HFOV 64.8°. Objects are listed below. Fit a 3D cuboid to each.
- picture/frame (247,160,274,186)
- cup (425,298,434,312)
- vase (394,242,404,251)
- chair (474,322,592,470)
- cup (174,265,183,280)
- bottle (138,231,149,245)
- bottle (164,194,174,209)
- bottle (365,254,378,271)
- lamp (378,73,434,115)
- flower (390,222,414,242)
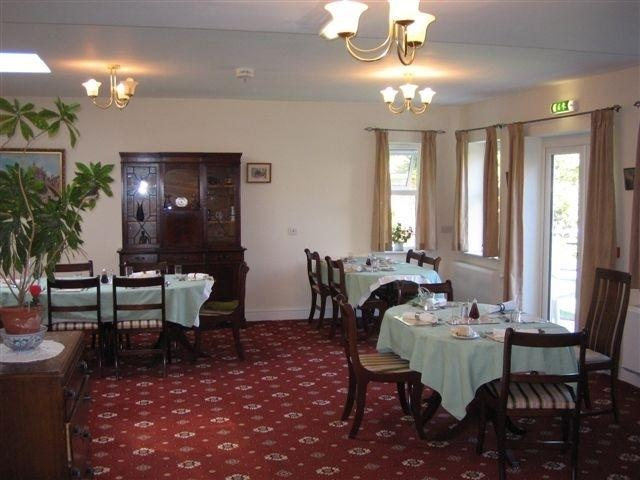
[{"bbox_3d":[-0.894,-0.979,7.346,0.377,0.308,0.039,0,1,-15],"label":"picture/frame"},{"bbox_3d":[0.943,0.554,4.263,0.082,0.148,0.081,0,4,0],"label":"cup"},{"bbox_3d":[1.200,0.103,7.686,0.130,0.096,0.131,2,2,41],"label":"vase"},{"bbox_3d":[1.448,1.088,3.493,0.673,1.066,0.509,0,5,17],"label":"chair"},{"bbox_3d":[-1.624,0.377,5.799,0.069,0.143,0.144,-3,5,-21],"label":"cup"},{"bbox_3d":[-2.411,-0.025,6.858,0.158,0.235,0.080,-5,-11,5],"label":"bottle"},{"bbox_3d":[-2.091,-0.513,6.875,0.165,0.238,0.164,-1,1,0],"label":"bottle"},{"bbox_3d":[0.673,0.296,6.523,0.173,0.232,0.172,1,11,0],"label":"bottle"},{"bbox_3d":[1.025,-1.739,5.984,0.761,0.390,0.757,0,1,-2],"label":"lamp"},{"bbox_3d":[1.265,-0.140,7.733,0.296,0.249,0.295,-3,12,-12],"label":"flower"}]
